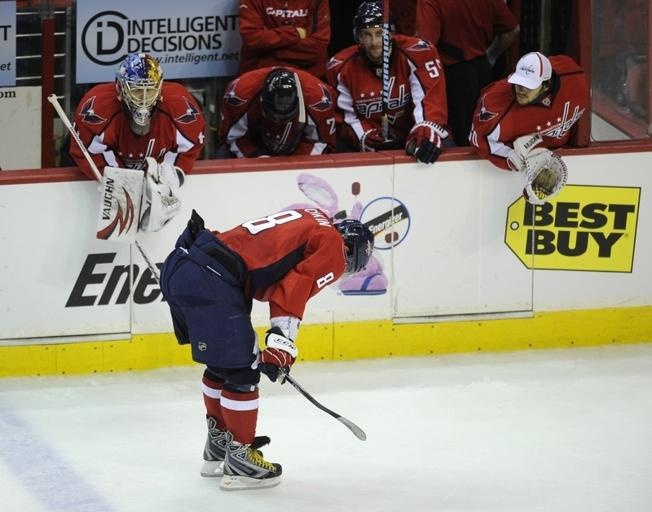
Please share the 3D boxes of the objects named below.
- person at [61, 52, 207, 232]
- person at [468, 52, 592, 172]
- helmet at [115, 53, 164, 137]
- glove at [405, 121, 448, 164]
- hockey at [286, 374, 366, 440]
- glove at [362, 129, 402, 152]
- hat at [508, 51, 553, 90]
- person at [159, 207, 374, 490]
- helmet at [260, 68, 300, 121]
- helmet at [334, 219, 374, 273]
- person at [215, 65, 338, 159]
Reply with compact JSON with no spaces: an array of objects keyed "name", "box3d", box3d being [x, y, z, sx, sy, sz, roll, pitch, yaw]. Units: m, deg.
[{"name":"person","box3d":[-1.066,-0.679,5.163,0.711,0.886,1.034,-5,45,-16]},{"name":"person","box3d":[1.274,-0.860,5.478,0.686,0.592,0.397,-26,62,4]},{"name":"helmet","box3d":[-1.077,-0.941,5.063,0.253,0.445,0.276,11,28,1]},{"name":"glove","box3d":[0.611,-0.715,5.437,0.201,0.118,0.271,30,53,15]},{"name":"hockey","box3d":[-0.007,0.818,4.762,0.562,0.079,0.048,42,17,13]},{"name":"glove","box3d":[0.362,-0.735,5.712,0.201,0.100,0.154,-5,36,-8]},{"name":"hat","box3d":[1.221,-1.120,5.350,0.212,0.171,0.327,22,38,34]},{"name":"person","box3d":[-0.281,0.447,4.099,0.935,1.285,0.489,-2,8,-12]},{"name":"helmet","box3d":[-0.291,-1.020,5.507,0.222,0.250,0.301,-12,-14,34]},{"name":"helmet","box3d":[0.167,-0.045,4.297,0.213,0.249,0.179,8,-17,17]},{"name":"person","box3d":[-0.315,-0.884,5.729,0.781,0.811,0.636,-1,47,-7]}]
